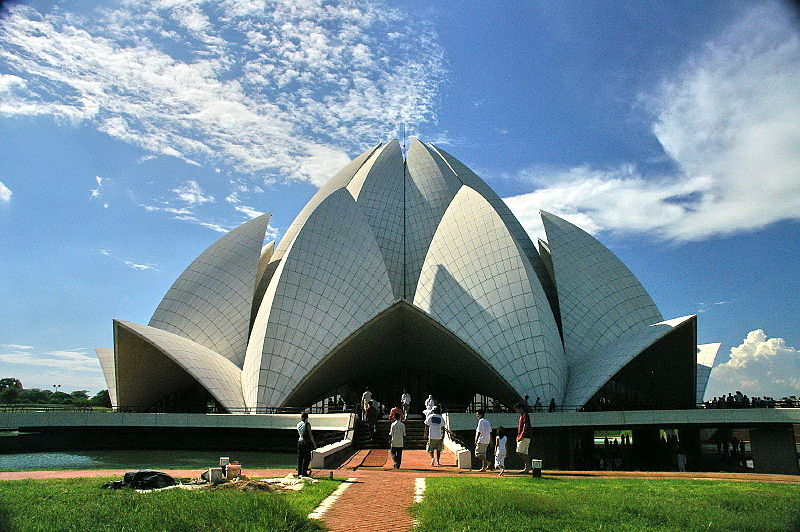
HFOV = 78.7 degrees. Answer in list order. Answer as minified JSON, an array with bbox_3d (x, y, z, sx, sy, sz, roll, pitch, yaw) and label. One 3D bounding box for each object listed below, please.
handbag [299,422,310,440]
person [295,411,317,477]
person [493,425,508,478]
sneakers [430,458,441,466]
[{"bbox_3d":[-2.835,4.895,14.531,0.306,0.500,0.418,4,-10,-18],"label":"handbag"},{"bbox_3d":[-2.821,5.402,14.887,0.474,1.871,1.332,3,-10,-11],"label":"person"},{"bbox_3d":[3.421,6.244,16.617,0.359,1.548,1.218,0,-10,10],"label":"person"},{"bbox_3d":[1.310,7.108,17.737,0.176,0.224,0.527,1,-10,9],"label":"sneakers"}]
